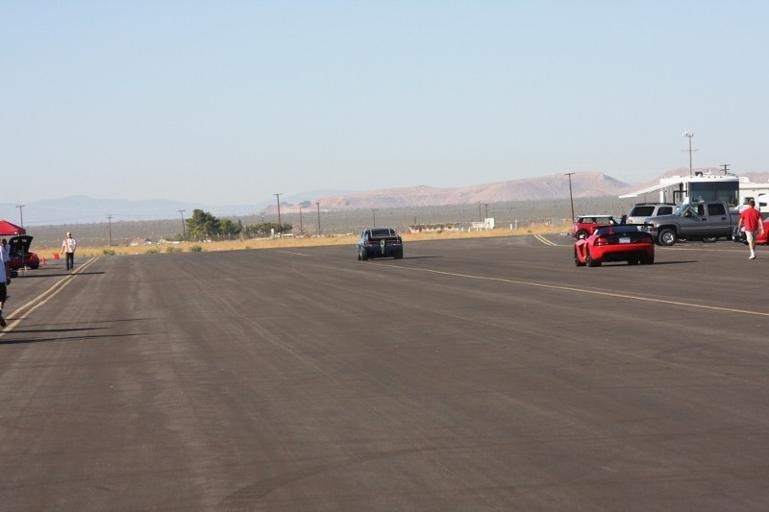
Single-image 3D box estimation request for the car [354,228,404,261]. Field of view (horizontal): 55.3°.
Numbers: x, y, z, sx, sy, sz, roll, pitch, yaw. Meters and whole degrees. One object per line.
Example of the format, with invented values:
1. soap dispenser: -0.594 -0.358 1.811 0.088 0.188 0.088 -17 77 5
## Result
1. car: -0.283 -0.681 41.810 2.388 1.761 2.078 -6 6 -38
